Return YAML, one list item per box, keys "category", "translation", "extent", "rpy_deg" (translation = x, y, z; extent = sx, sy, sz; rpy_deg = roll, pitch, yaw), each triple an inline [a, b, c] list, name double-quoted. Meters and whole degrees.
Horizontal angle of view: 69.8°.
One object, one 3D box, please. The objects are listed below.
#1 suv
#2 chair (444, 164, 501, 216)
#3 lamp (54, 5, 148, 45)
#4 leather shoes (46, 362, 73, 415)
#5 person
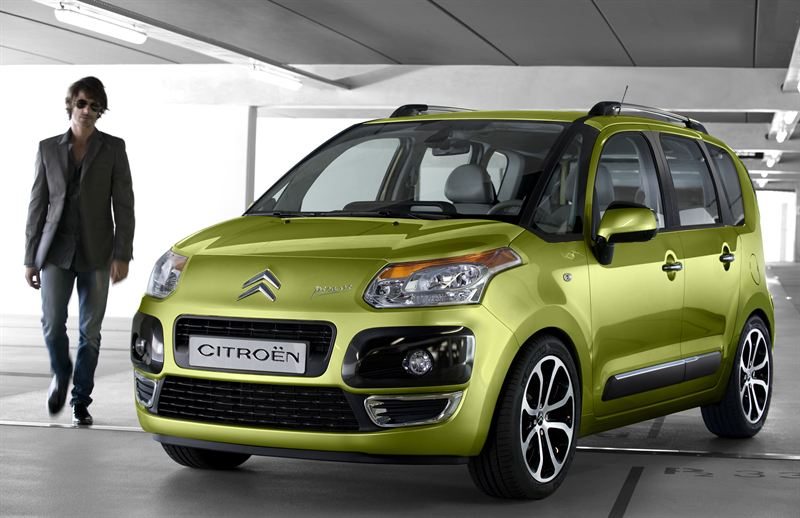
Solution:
- category: "suv"
  translation: [0.815, 0.003, 4.035]
  extent: [2.674, 1.767, 4.069]
  rpy_deg: [-2, -4, 34]
- category: "chair"
  translation: [0.429, -0.423, 3.483]
  extent: [0.288, 0.329, 0.369]
  rpy_deg: [1, 3, 16]
- category: "lamp"
  translation: [-4.564, -3.566, 8.731]
  extent: [0.325, 0.347, 1.380]
  rpy_deg: [-1, -4, 20]
- category: "leather shoes"
  translation: [-2.835, 1.084, 4.769]
  extent: [0.157, 0.455, 0.188]
  rpy_deg: [3, -5, -27]
- category: "person"
  translation: [-2.687, -0.095, 4.801]
  extent: [0.795, 2.909, 0.411]
  rpy_deg: [3, -5, -26]
